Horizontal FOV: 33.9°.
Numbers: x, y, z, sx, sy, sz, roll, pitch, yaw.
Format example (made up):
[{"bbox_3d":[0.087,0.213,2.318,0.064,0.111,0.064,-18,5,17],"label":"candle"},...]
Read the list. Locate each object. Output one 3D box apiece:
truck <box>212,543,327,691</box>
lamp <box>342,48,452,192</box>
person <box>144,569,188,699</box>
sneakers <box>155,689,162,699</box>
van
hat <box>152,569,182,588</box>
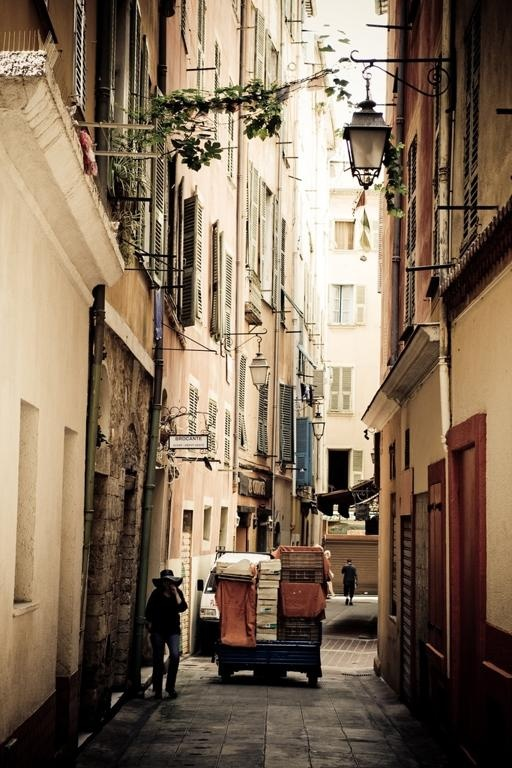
[{"bbox_3d":[0.257,3.937,14.251,1.073,1.983,2.296,0,-14,0],"label":"truck"},{"bbox_3d":[1.049,-1.986,6.256,0.717,1.502,0.389,0,-26,12],"label":"lamp"},{"bbox_3d":[-1.235,3.355,11.320,0.549,1.636,0.616,-7,-12,43],"label":"person"},{"bbox_3d":[-1.261,4.028,10.879,0.053,0.166,0.070,0,-7,6],"label":"sneakers"},{"bbox_3d":[-0.674,4.325,17.507,0.975,1.661,2.238,-1,-13,6],"label":"van"},{"bbox_3d":[-1.200,2.691,11.667,0.252,0.197,0.409,2,-17,3],"label":"hat"}]
